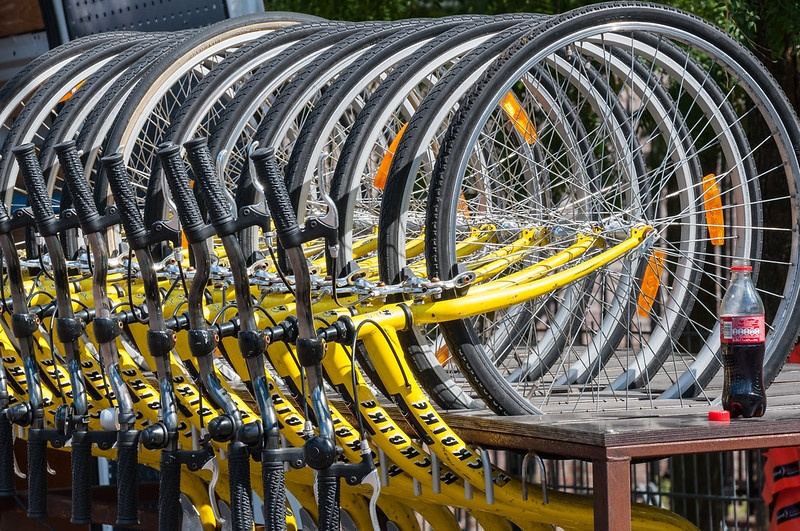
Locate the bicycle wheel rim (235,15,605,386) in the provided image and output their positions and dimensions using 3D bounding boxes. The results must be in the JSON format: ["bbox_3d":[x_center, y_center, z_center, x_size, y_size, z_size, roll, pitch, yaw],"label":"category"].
[{"bbox_3d":[-0.087,-0.379,7.806,0.385,1.734,1.565,4,-3,38],"label":"bicycle wheel rim"}]

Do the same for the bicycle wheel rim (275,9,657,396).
[{"bbox_3d":[0.087,-0.366,7.638,0.390,1.834,1.642,1,-5,43],"label":"bicycle wheel rim"}]

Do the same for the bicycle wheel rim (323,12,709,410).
[{"bbox_3d":[0.576,-0.263,8.079,1.895,2.132,0.441,11,-8,-40],"label":"bicycle wheel rim"}]
